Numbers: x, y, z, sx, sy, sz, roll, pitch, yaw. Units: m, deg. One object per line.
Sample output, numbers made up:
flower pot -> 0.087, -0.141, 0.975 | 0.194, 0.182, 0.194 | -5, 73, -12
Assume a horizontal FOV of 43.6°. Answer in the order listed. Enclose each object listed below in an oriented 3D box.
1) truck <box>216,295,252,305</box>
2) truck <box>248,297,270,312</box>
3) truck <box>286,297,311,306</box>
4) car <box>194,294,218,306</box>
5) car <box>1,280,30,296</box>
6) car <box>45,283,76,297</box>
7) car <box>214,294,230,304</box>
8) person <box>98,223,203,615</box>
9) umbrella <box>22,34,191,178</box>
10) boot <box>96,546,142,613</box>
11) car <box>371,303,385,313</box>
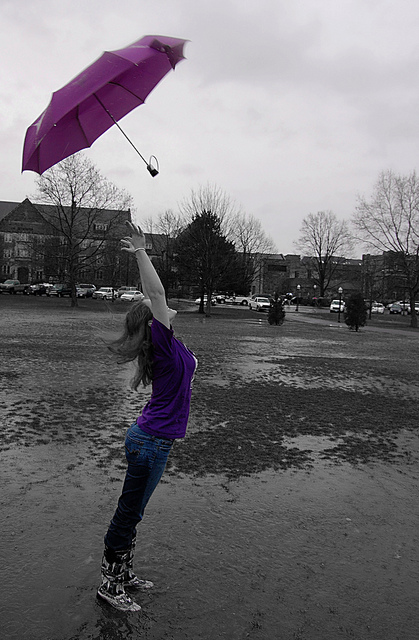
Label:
truck -> 3.565, -2.763, 78.921 | 4.192, 1.455, 1.894 | 0, 3, -6
truck -> 5.509, -1.808, 57.641 | 1.246, 1.029, 2.862 | -2, 3, -20
truck -> 15.074, -3.234, 86.600 | 2.533, 1.233, 1.519 | 7, 2, 10
car -> -0.270, -2.502, 67.248 | 1.622, 1.275, 3.542 | -1, -7, 11
car -> -24.117, -4.114, 64.546 | 1.970, 1.426, 3.292 | -1, -1, 18
car -> -18.558, -3.764, 64.596 | 2.970, 1.848, 5.934 | 2, 1, -22
car -> 1.657, -3.172, 76.401 | 1.629, 1.245, 2.744 | -1, -2, 1
person -> -0.301, 0.450, 2.632 | 0.427, 1.265, 0.442 | 3, 1, 2
umbrella -> -0.744, -1.529, 3.510 | 1.083, 1.008, 1.008 | 3, 1, 0
boot -> -0.425, 1.250, 2.559 | 0.255, 0.302, 0.129 | 13, 14, 37
car -> 22.572, -1.539, 70.383 | 1.414, 1.087, 2.129 | 3, 1, 16
